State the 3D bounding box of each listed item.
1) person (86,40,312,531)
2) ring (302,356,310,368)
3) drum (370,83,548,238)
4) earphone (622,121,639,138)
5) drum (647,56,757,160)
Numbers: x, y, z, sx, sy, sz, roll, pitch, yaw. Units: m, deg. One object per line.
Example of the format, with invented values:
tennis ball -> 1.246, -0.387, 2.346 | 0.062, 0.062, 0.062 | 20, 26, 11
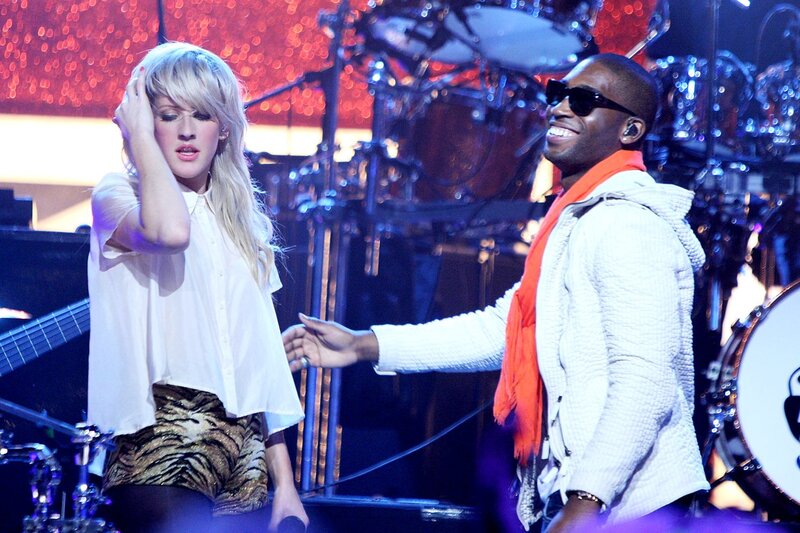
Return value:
person -> -0.951, 0.076, 5.259 | 0.843, 2.123, 0.528 | 1, 4, -16
ring -> -0.457, 0.479, 5.826 | 0.037, 0.050, 0.019 | 2, -31, -18
drum -> 0.359, -0.593, 7.623 | 0.664, 0.932, 0.863 | 1, 32, -13
earphone -> 1.087, -0.640, 5.512 | 0.059, 0.086, 0.031 | 18, 6, 11
drum -> 1.875, -1.019, 7.312 | 0.625, 0.487, 0.565 | 6, 1, -17
